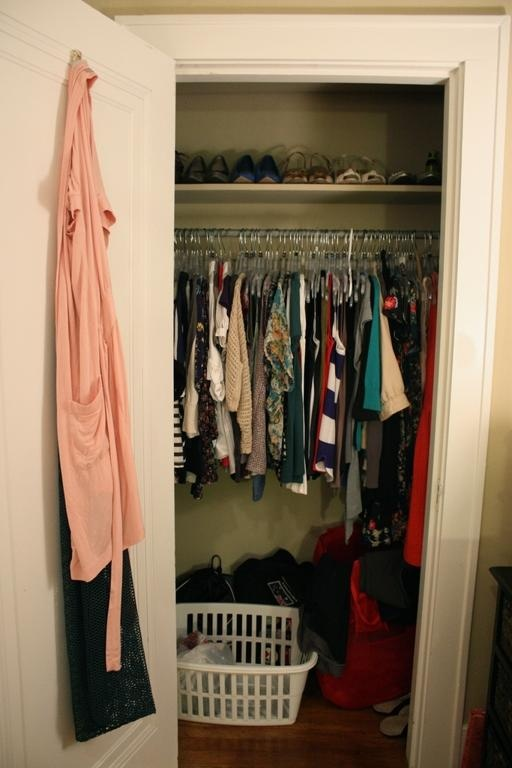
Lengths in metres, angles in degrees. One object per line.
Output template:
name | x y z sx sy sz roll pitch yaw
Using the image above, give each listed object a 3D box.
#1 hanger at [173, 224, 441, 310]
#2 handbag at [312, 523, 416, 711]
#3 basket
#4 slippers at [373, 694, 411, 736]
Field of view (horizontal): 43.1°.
hanger | 0.147 -0.423 2.261 0.940 0.237 0.593 3 12 19
handbag | 0.367 0.845 2.466 0.329 0.900 0.501 -1 0 -7
basket | -0.060 0.938 2.216 0.440 0.287 0.570 -3 11 -10
slippers | 0.439 1.066 2.089 0.115 0.040 0.177 1 12 10
